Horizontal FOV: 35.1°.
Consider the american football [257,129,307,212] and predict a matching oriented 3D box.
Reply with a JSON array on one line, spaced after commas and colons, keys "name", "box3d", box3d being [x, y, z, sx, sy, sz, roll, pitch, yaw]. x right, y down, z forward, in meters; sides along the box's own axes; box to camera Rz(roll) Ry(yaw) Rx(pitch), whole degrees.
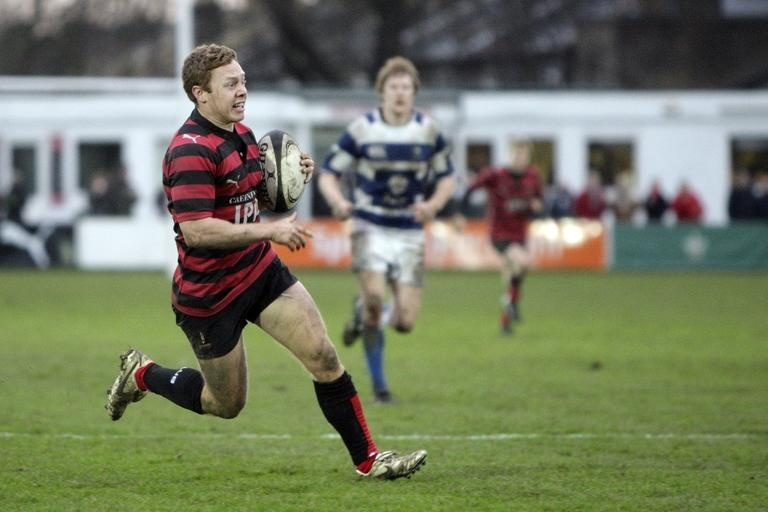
[{"name": "american football", "box3d": [-0.738, -0.650, 9.287, 0.357, 0.555, 0.403, -3, -5, 34]}]

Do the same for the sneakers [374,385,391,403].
[{"name": "sneakers", "box3d": [-0.022, 1.240, 11.187, 0.170, 0.154, 0.102, -1, 5, 2]}]

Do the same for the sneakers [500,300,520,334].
[{"name": "sneakers", "box3d": [0.986, 0.466, 9.580, 0.104, 0.210, 0.166, 17, -17, -39]}]
